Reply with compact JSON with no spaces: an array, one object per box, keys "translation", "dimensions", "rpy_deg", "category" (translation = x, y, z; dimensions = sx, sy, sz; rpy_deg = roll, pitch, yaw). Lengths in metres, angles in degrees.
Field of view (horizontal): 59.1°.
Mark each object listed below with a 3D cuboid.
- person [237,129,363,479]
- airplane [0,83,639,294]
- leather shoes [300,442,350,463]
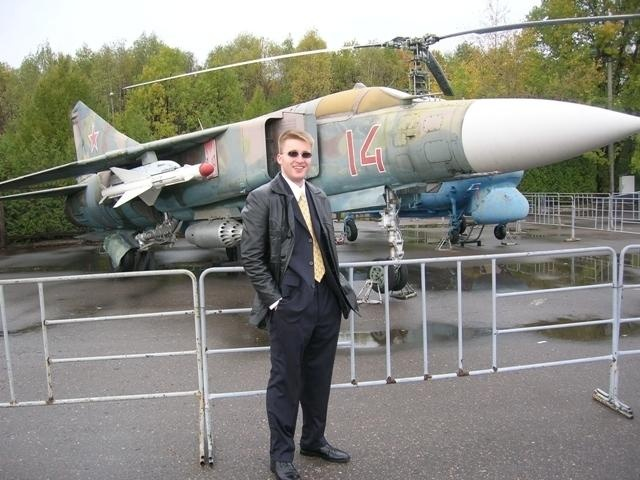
[{"translation":[-0.208,0.577,5.190],"dimensions":[0.873,3.114,0.637],"rpy_deg":[-7,11,-33],"category":"person"},{"translation":[0.036,-1.182,14.583],"dimensions":[9.696,3.516,9.621],"rpy_deg":[-5,11,40],"category":"airplane"},{"translation":[0.081,2.001,5.477],"dimensions":[0.526,0.224,0.180],"rpy_deg":[2,6,10],"category":"leather shoes"}]
